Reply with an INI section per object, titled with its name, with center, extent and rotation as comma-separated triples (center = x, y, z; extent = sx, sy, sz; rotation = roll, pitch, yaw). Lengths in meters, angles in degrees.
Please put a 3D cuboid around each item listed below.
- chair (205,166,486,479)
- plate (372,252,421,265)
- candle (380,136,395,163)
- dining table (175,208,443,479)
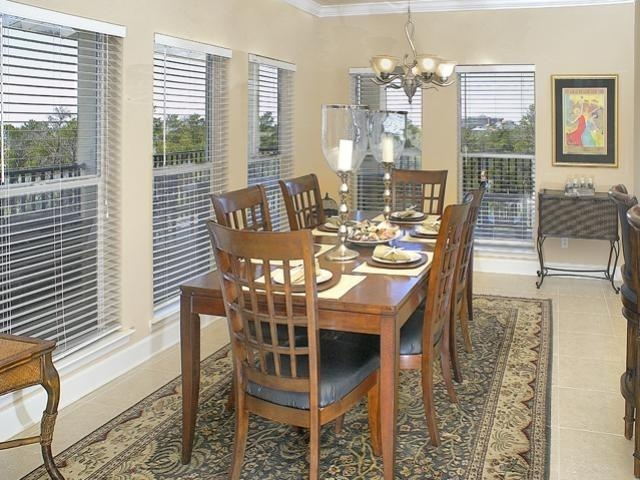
[chair]
center = 0.224, 0.354, 2.744
extent = 0.921, 1.010, 1.688
rotation = 3, 9, 26
[plate]
center = 0.458, 0.097, 2.812
extent = 0.130, 0.041, 0.131
rotation = 3, 5, 34
[candle]
center = 0.484, -0.638, 3.485
extent = 0.087, 0.173, 0.149
rotation = 2, 14, 9
[dining table]
center = -0.041, 0.569, 2.750
extent = 1.123, 0.848, 1.671
rotation = 1, 6, 17
